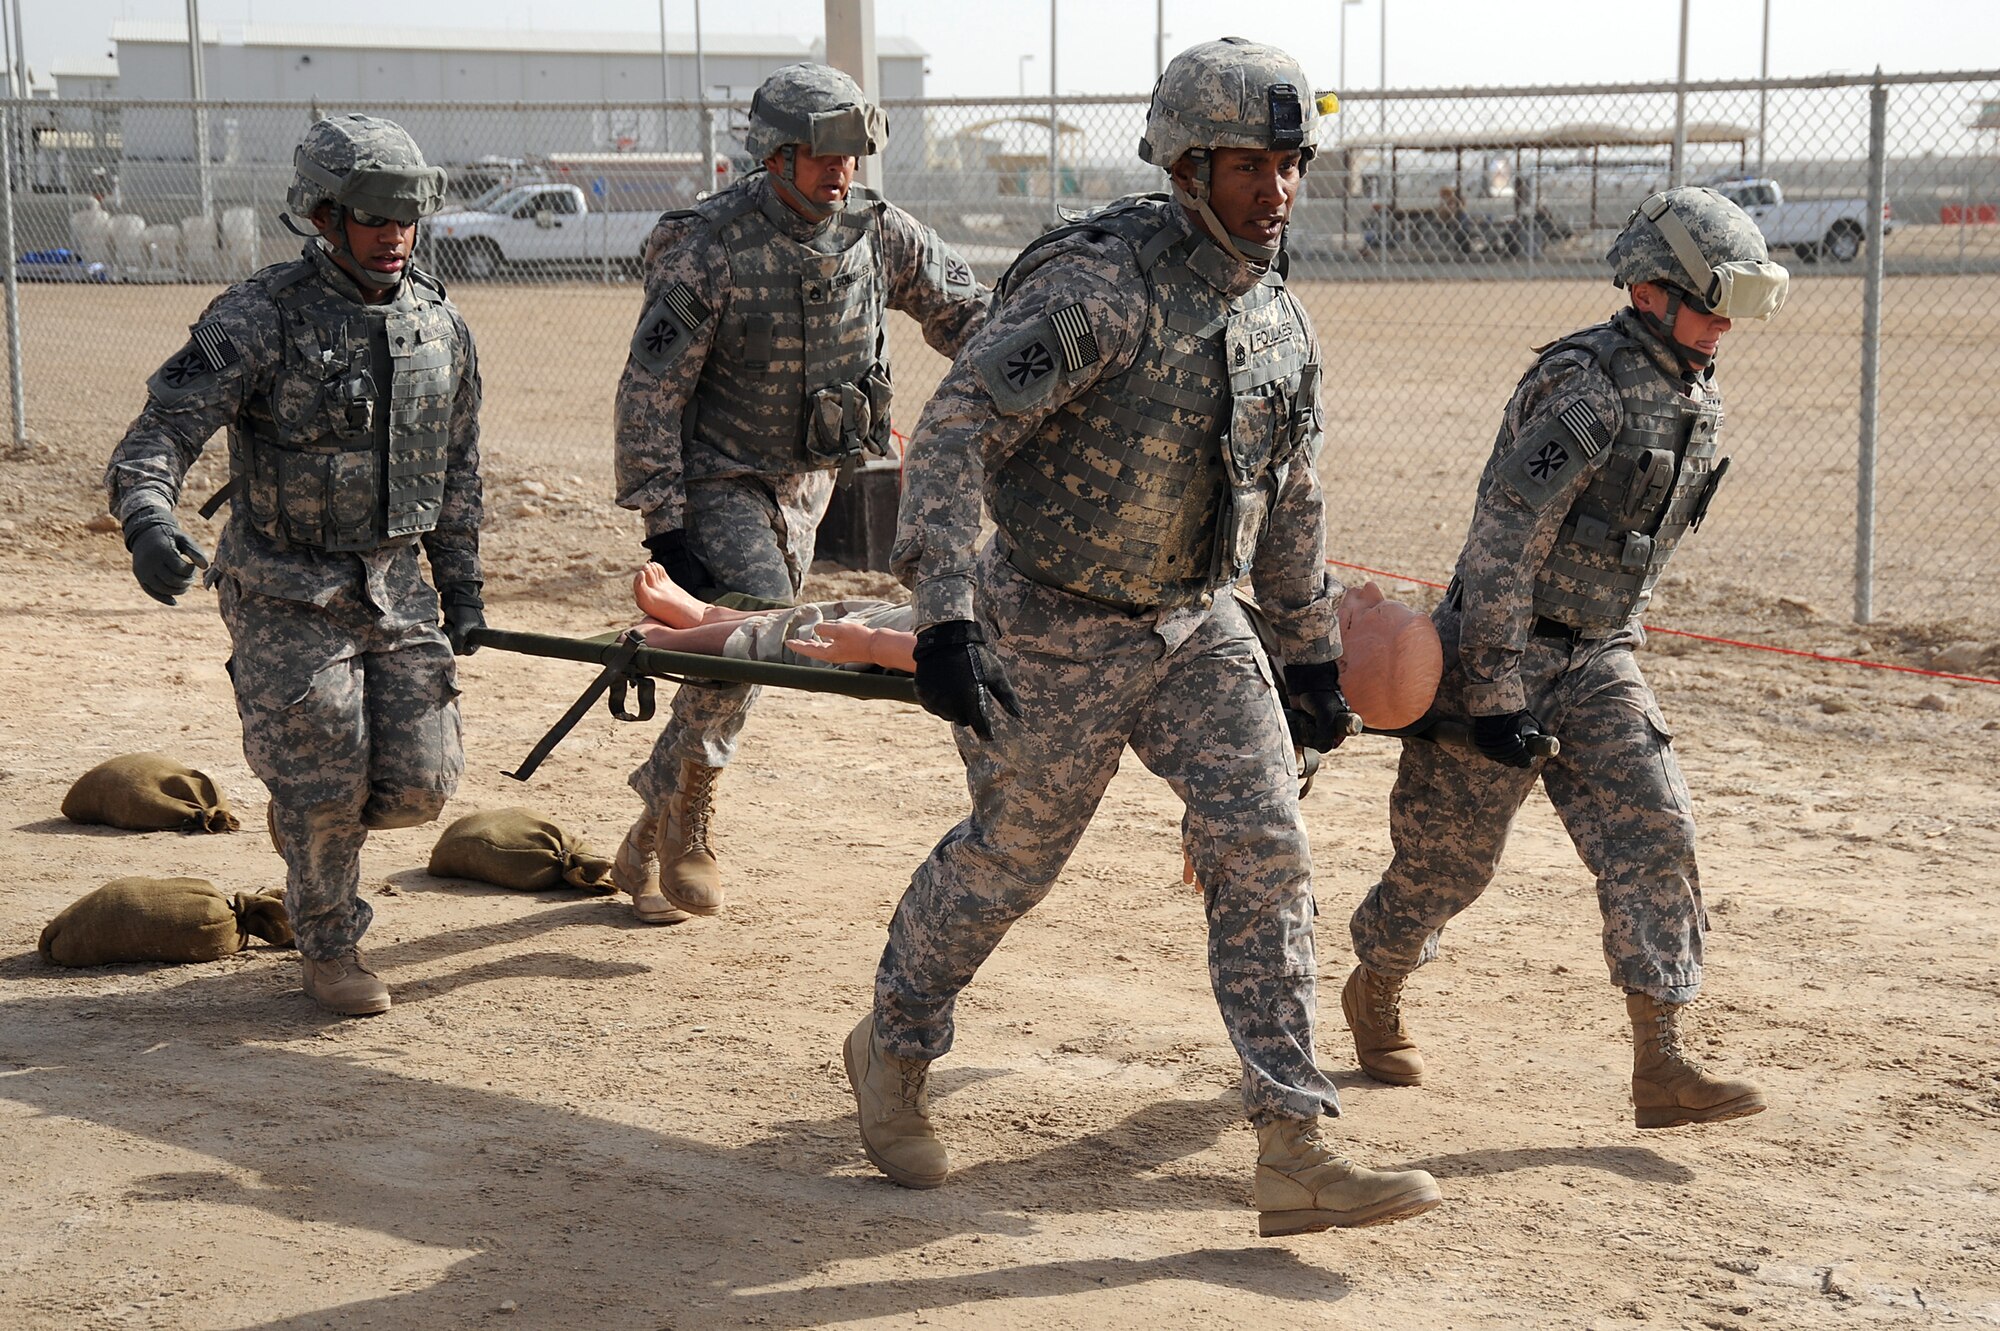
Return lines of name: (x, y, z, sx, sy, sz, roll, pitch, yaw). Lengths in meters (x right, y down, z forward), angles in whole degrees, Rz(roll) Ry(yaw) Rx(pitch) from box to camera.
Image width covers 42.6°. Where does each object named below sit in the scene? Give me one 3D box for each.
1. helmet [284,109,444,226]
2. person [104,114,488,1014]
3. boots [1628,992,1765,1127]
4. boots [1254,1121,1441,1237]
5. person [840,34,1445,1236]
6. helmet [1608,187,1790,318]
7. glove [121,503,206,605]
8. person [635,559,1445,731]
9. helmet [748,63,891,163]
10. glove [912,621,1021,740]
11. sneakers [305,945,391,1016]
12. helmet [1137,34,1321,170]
helmet: (-2.109, -1.616, 8.442, 0.531, 0.306, 0.418, 16, 30, 19)
person: (-2.251, -0.309, 8.511, 1.382, 2.966, 0.626, -9, 17, -40)
boots: (2.209, 1.220, 7.949, 0.235, 0.382, 0.485, 5, -14, -38)
boots: (0.998, 1.426, 7.326, 0.619, 0.336, 0.213, -18, -17, 41)
person: (0.374, -0.085, 7.416, 1.461, 3.392, 0.978, 2, 13, -1)
helmet: (2.230, -1.300, 8.146, 0.551, 0.366, 0.390, 29, 35, 33)
glove: (-2.651, -0.327, 8.079, 0.247, 0.346, 0.627, -3, 11, -19)
person: (-0.079, -0.082, 7.986, 2.032, 0.370, 0.855, 4, -19, 25)
helmet: (-0.619, -1.929, 8.975, 0.473, 0.263, 0.504, -9, 25, -16)
glove: (-0.097, 0.041, 7.093, 0.395, 0.292, 0.159, -3, -3, 10)
sneakers: (-2.217, 1.084, 8.642, 0.413, 0.132, 0.141, 3, 7, 27)
helmet: (0.728, -1.654, 7.474, 0.559, 0.305, 0.532, 17, 32, 37)
